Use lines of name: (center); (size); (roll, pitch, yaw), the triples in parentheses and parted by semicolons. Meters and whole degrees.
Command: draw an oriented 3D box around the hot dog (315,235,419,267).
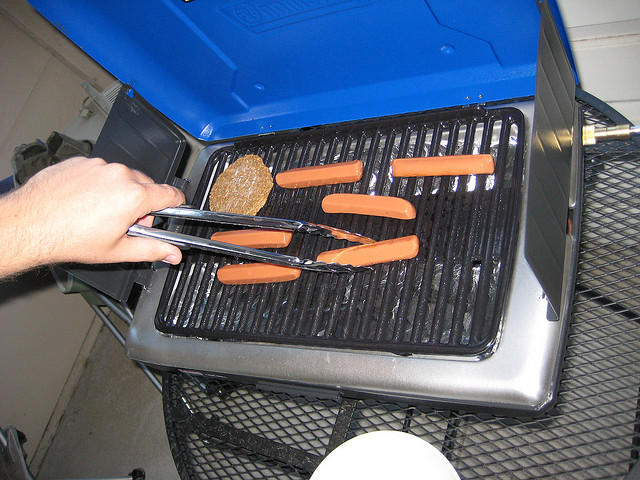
hot dog: (0.119, 0.027, 1.099); (0.264, 0.057, 0.075); (-3, 79, 17)

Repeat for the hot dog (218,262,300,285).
hot dog: (-0.147, 0.072, 1.165); (0.232, 0.059, 0.065); (2, 91, 10)

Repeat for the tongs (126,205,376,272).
tongs: (-0.137, -0.005, 1.110); (0.593, 0.049, 0.120); (9, 67, 0)

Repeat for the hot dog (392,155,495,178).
hot dog: (0.268, -0.161, 1.074); (0.218, 0.040, 0.033); (-2, 58, 26)
